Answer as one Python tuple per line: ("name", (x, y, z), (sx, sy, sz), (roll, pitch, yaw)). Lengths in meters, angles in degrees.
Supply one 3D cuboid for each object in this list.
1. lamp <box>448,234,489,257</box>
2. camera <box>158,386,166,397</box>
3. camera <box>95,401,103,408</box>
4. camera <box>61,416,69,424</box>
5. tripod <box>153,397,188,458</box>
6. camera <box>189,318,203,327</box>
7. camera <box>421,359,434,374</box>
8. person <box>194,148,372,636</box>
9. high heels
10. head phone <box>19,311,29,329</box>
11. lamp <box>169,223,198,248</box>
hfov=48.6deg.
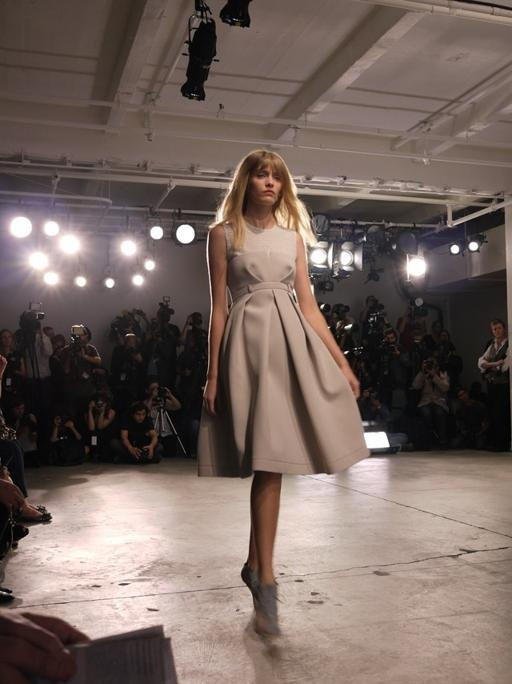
("lamp", (3.631, -1.685, 9.628), (0.702, 0.346, 0.320), (1, -3, -25))
("camera", (-1.238, 0.674, 7.545), (0.124, 0.139, 0.192), (0, -3, -9))
("camera", (-2.052, 0.803, 7.447), (0.096, 0.094, 0.053), (0, -3, -8))
("camera", (-2.378, 0.964, 7.082), (0.082, 0.084, 0.112), (1, -3, -25))
("tripod", (-1.214, 1.127, 7.686), (0.429, 0.829, 0.436), (1, -3, -30))
("camera", (-0.981, -0.332, 9.318), (0.172, 0.145, 0.162), (3, -2, -32))
("camera", (2.608, 0.369, 8.643), (0.142, 0.206, 0.227), (10, 0, 21))
("person", (0.085, 0.114, 2.012), (0.580, 1.655, 0.516), (0, -3, -5))
("high heels", (0.012, 0.828, 1.845), (0.084, 0.217, 0.104), (-4, -14, -39))
("head phone", (-3.421, -0.334, 8.339), (0.078, 0.246, 0.299), (1, -3, -28))
("lamp", (-1.059, -1.597, 8.354), (0.326, 0.311, 0.240), (0, -3, -8))
